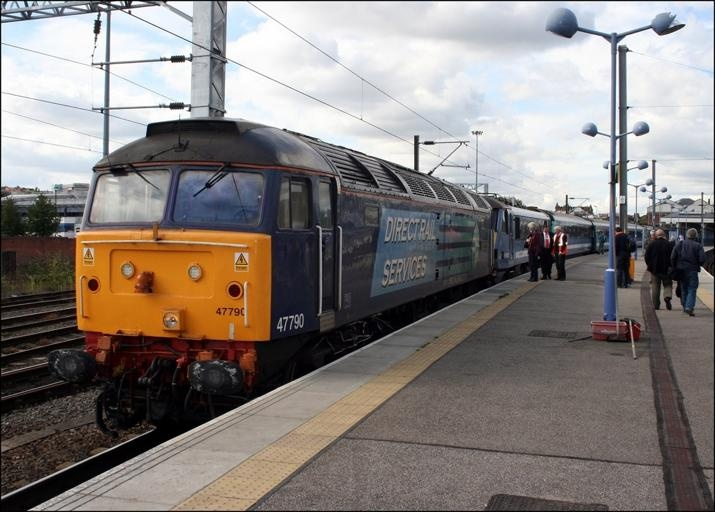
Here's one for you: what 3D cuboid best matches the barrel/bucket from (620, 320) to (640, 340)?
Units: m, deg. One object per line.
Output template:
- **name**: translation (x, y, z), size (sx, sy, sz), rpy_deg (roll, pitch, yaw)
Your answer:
- **barrel/bucket**: translation (5.353, 1.444, 10.956), size (0.385, 0.415, 0.309), rpy_deg (-2, 0, 27)
